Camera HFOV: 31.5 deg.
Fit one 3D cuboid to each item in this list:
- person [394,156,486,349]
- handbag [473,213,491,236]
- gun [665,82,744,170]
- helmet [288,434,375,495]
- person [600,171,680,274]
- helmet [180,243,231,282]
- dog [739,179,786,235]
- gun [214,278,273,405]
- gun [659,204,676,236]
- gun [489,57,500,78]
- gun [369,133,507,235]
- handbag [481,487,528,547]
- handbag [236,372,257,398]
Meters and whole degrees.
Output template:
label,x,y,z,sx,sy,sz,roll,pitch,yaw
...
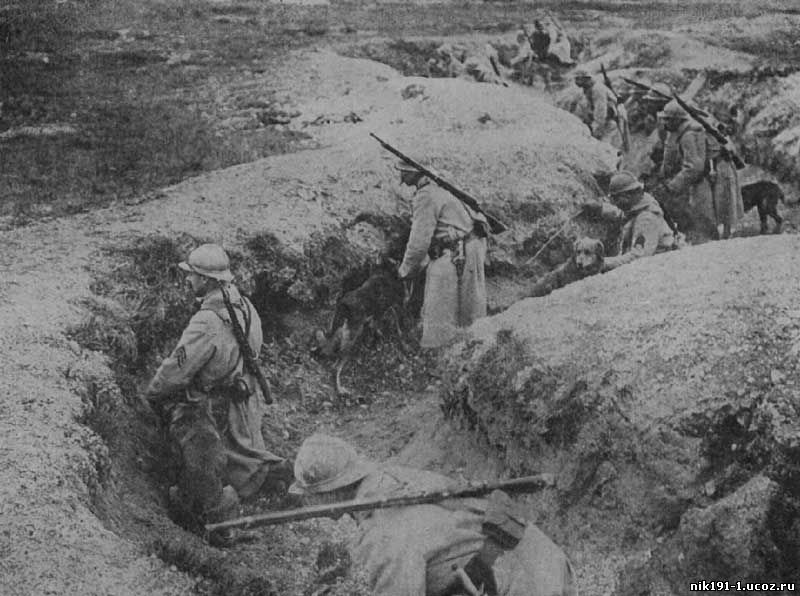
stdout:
label,x,y,z,sx,sy,sz,roll,pitch,yaw
person,0.369,-0.364,11.958,0.739,1.276,0.803,-3,31,0
handbag,0.725,-0.627,12.044,0.113,0.196,0.070,-26,6,-29
gun,2.684,-1.491,12.418,0.157,0.953,0.082,-46,0,-17
helmet,-0.570,1.315,11.566,0.577,0.259,0.440,-18,41,-15
person,2.070,-0.712,12.268,0.777,0.599,0.507,-12,33,-14
helmet,-1.577,-0.255,11.526,0.341,0.179,0.272,17,20,-9
dog,3.257,-0.818,12.439,0.398,0.335,0.290,-13,33,-15
gun,-1.291,0.363,11.501,0.142,1.050,0.178,-6,22,48
gun,2.367,-0.707,12.330,0.084,0.243,0.174,-23,1,10
gun,0.852,-2.001,12.322,0.052,0.216,0.057,-17,11,27
gun,0.292,-0.952,12.005,1.449,0.338,0.120,32,-9,-10
handbag,0.877,1.767,11.529,0.365,0.146,0.399,-34,71,-19
handbag,-1.255,0.675,11.483,0.119,0.233,0.164,-20,-11,39
